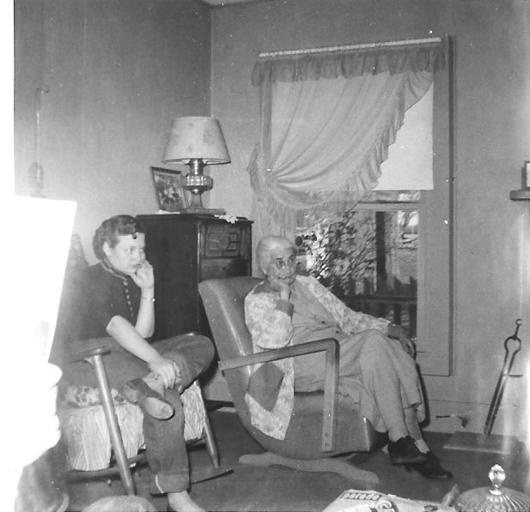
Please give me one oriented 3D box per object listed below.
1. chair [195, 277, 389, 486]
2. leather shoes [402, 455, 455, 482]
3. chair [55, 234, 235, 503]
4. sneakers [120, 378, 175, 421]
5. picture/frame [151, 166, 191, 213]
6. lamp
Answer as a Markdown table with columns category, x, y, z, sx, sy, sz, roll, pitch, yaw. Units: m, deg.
| category | x | y | z | sx | sy | sz | roll | pitch | yaw |
| --- | --- | --- | --- | --- | --- | --- | --- | --- | --- |
| chair | 0.081 | 0.405 | 2.354 | 0.567 | 0.692 | 0.453 | 1 | 4 | 7 |
| leather shoes | 0.545 | 0.711 | 2.213 | 0.057 | 0.082 | 0.167 | -2 | -6 | -44 |
| chair | -0.473 | 0.381 | 2.278 | 0.583 | 1.126 | 0.621 | -4 | -6 | 13 |
| sneakers | -0.334 | 0.400 | 1.841 | 0.136 | 0.102 | 0.088 | 0 | 2 | -16 |
| picture/frame | -0.452 | -0.307 | 3.083 | 0.240 | 0.205 | 0.008 | 7 | 20 | 42 |
| lamp | -0.305 | -0.408 | 2.995 | 0.287 | 0.431 | 0.376 | 0 | 2 | 0 |
